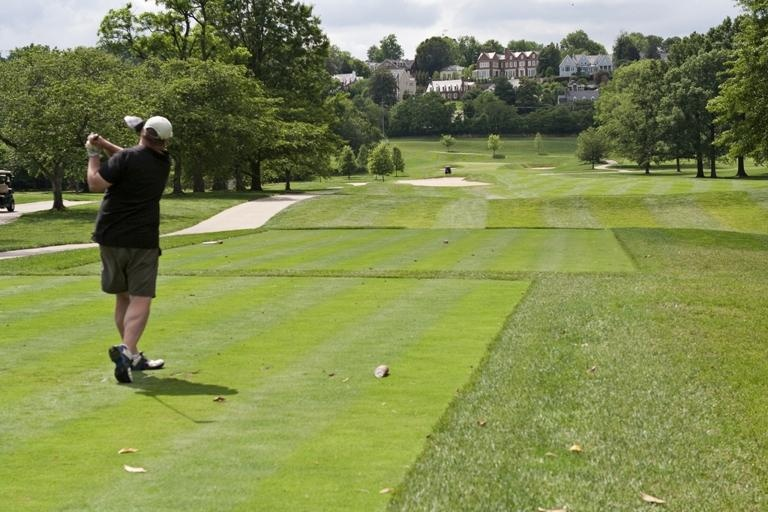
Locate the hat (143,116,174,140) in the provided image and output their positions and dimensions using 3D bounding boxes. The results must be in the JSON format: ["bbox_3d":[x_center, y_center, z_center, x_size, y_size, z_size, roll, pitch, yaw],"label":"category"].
[{"bbox_3d":[-3.003,-1.724,9.197,0.298,0.219,0.404,13,24,-17],"label":"hat"}]

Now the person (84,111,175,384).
[{"bbox_3d":[-3.324,-0.143,9.122,1.041,3.291,0.993,-2,10,-16],"label":"person"}]

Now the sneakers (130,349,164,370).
[{"bbox_3d":[-3.076,1.416,9.083,0.517,0.216,0.175,1,9,-11],"label":"sneakers"}]

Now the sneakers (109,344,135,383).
[{"bbox_3d":[-3.301,1.346,8.719,0.214,0.526,0.257,-10,3,-6],"label":"sneakers"}]
